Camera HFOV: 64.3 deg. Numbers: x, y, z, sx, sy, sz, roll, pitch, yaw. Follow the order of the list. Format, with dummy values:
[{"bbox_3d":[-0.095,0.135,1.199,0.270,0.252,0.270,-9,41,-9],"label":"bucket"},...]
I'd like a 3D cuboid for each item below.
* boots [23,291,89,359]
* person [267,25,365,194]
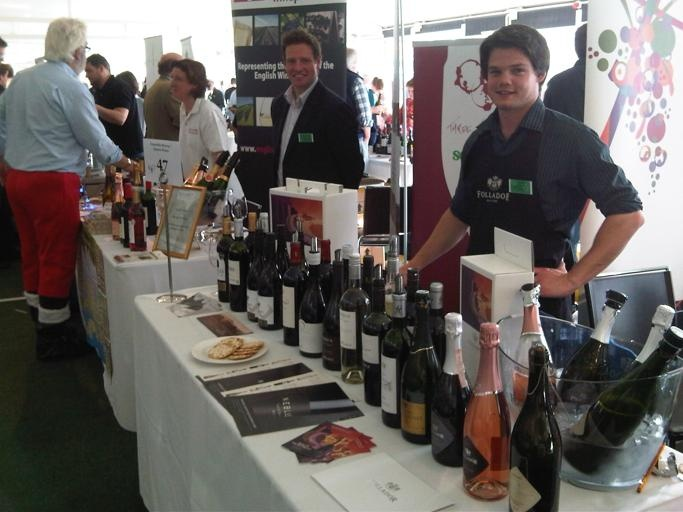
[{"bbox_3d":[-1.911,0.472,3.636,0.416,0.430,0.196,-13,33,-30],"label":"boots"},{"bbox_3d":[-0.187,-0.853,3.216,0.717,0.900,0.324,10,14,37],"label":"person"}]
